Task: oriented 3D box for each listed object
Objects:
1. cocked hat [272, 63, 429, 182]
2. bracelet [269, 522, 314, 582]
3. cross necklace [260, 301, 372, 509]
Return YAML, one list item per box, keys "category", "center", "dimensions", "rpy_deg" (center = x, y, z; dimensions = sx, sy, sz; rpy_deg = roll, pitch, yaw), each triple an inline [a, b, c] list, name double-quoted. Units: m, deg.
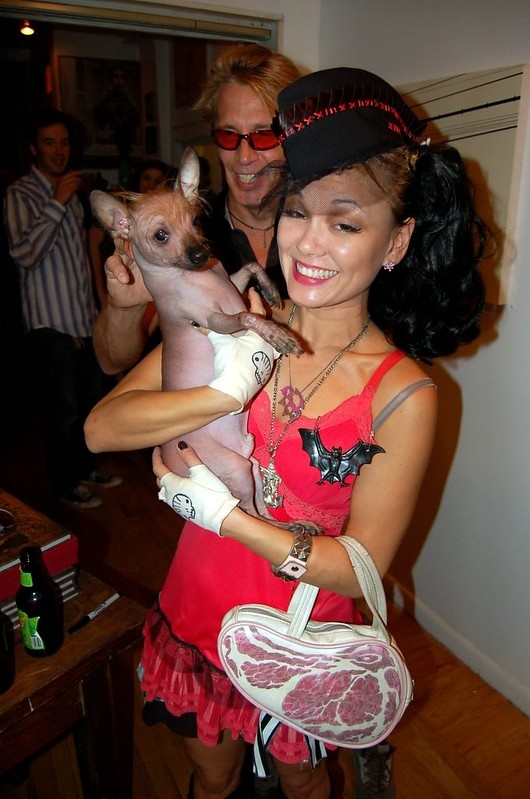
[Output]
- category: "cocked hat"
  center: [0.198, -0.602, 1.381]
  dimensions: [0.341, 0.241, 0.233]
  rpy_deg: [5, 23, -3]
- category: "bracelet"
  center: [0.058, 0.327, 1.338]
  dimensions: [0.063, 0.106, 0.108]
  rpy_deg: [30, 10, 4]
- category: "cross necklace"
  center: [0.089, 0.002, 1.592]
  dimensions: [0.289, 0.417, 0.226]
  rpy_deg: [23, 30, 36]
